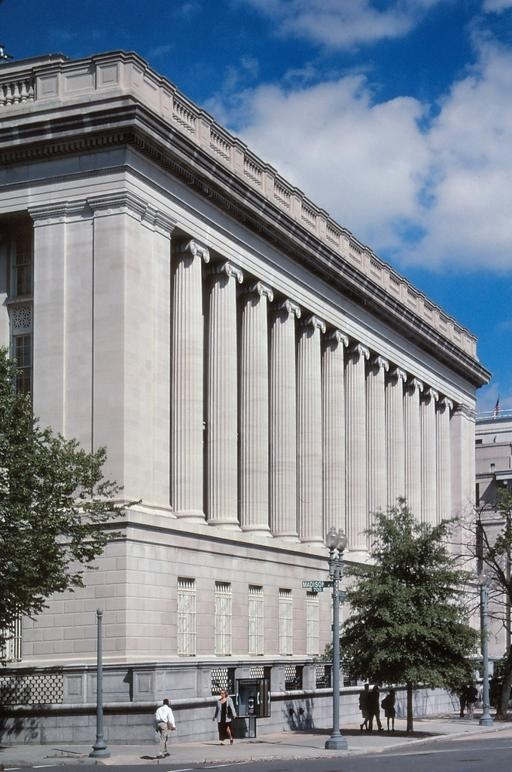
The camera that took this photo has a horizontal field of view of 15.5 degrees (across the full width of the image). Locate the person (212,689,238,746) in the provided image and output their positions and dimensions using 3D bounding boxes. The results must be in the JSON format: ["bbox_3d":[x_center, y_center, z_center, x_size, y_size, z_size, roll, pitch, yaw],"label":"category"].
[{"bbox_3d":[-0.855,8.819,50.223,0.485,1.418,1.274,0,-10,-2],"label":"person"}]
